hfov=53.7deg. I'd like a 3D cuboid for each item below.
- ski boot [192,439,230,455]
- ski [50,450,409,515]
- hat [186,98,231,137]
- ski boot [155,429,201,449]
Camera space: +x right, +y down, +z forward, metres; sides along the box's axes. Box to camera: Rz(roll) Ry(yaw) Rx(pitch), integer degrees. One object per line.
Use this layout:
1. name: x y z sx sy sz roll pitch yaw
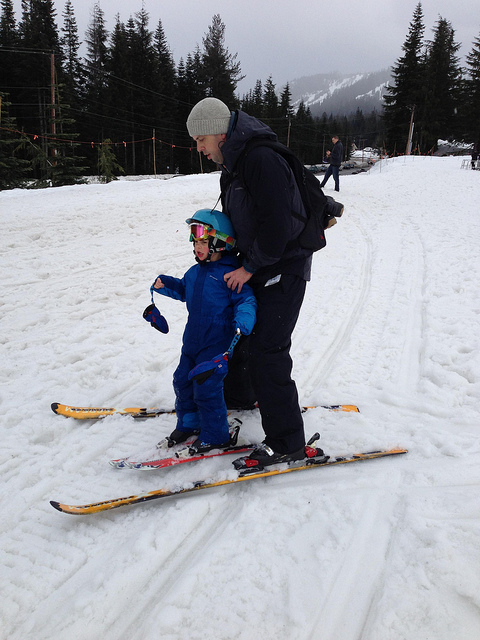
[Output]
1. ski boot: -0.184 0.815 3.088 0.247 0.113 0.084 6 6 -23
2. ski: -0.043 0.948 2.733 1.561 0.128 0.172 -3 11 -21
3. hat: -0.152 -1.066 2.615 0.219 0.161 0.227 29 52 28
4. ski boot: -0.403 0.761 3.138 0.254 0.108 0.076 -11 9 -33
